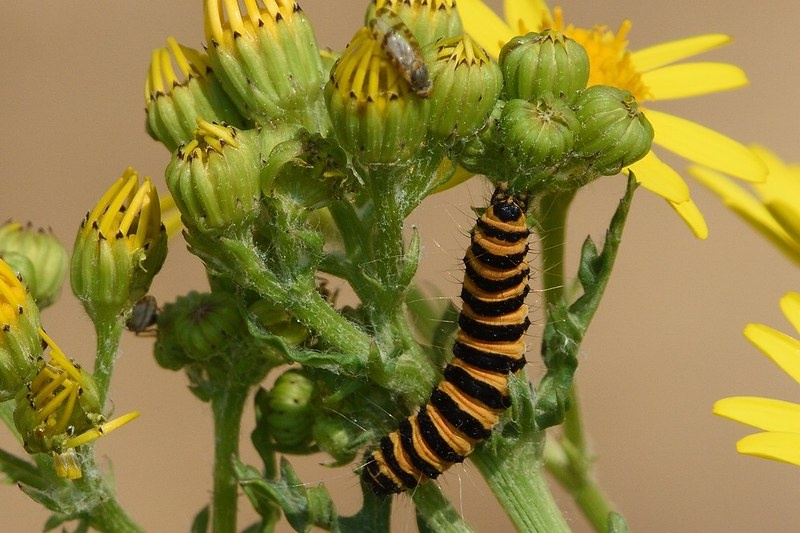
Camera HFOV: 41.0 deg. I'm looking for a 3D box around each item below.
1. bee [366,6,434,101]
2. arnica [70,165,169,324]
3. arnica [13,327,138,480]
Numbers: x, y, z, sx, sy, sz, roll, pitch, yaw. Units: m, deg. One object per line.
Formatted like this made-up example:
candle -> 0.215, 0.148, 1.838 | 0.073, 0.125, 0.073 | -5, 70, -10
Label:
bee -> 0.006, -0.674, 3.248 | 0.088, 0.273, 0.245 | -33, -48, 23
arnica -> -0.892, -0.047, 3.395 | 0.200, 0.194, 0.526 | -11, -76, -46
arnica -> -1.053, 0.427, 3.330 | 0.388, 0.657, 0.309 | -2, 2, -39
